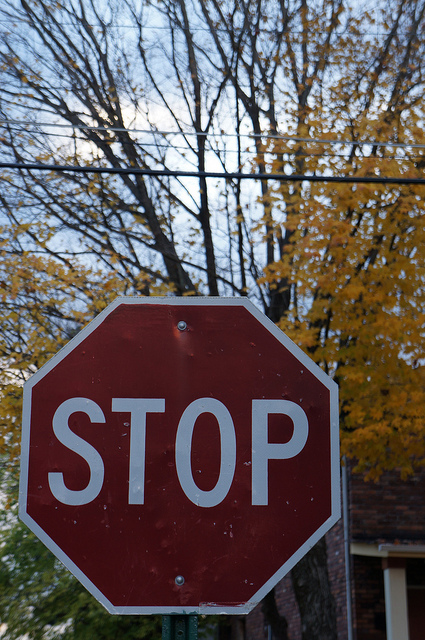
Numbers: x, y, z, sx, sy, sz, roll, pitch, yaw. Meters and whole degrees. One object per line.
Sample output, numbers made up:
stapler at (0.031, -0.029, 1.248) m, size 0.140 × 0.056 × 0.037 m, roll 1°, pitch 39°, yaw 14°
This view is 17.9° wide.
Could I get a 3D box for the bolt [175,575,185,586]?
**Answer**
bolt at (-0.208, 1.701, 8.645) m, size 0.052 × 0.058 × 0.020 m, roll -2°, pitch -3°, yaw 4°
